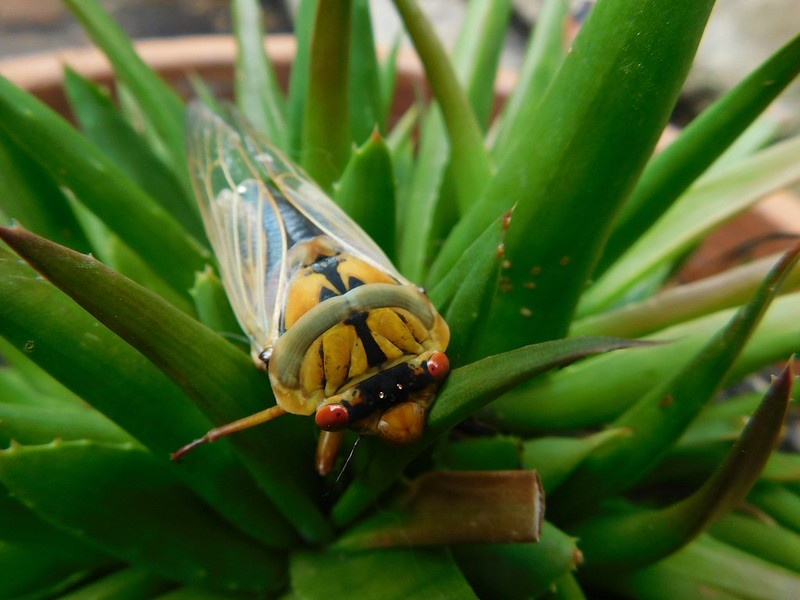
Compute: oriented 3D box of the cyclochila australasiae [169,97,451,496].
[{"bbox_3d":[-0.095,-0.007,0.878,0.252,0.126,0.364,-10,57,-21],"label":"cyclochila australasiae"}]
